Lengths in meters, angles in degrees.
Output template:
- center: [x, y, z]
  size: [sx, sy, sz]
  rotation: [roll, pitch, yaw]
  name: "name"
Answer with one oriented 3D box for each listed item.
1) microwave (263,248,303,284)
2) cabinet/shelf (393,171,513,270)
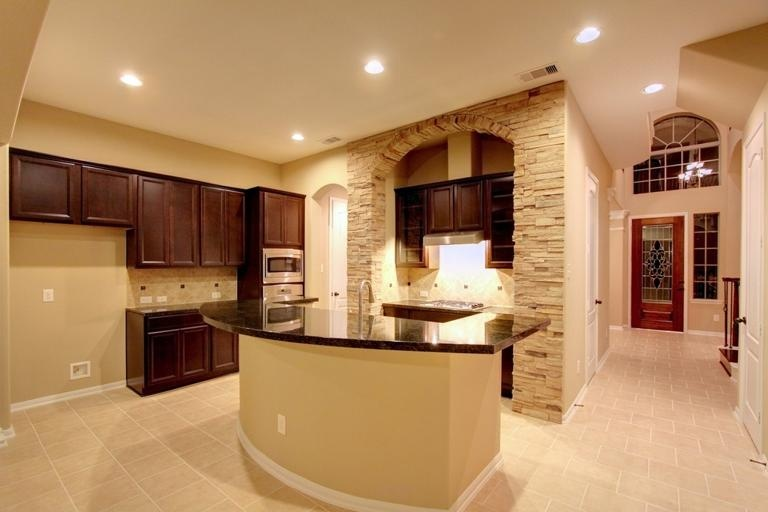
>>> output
- center: [-1.539, 0.152, 7.945]
  size: [0.680, 0.542, 0.352]
  rotation: [-1, 0, 13]
  name: "microwave"
- center: [1.071, -0.496, 7.357]
  size: [1.534, 0.967, 0.299]
  rotation: [-3, -6, 35]
  name: "cabinet/shelf"
